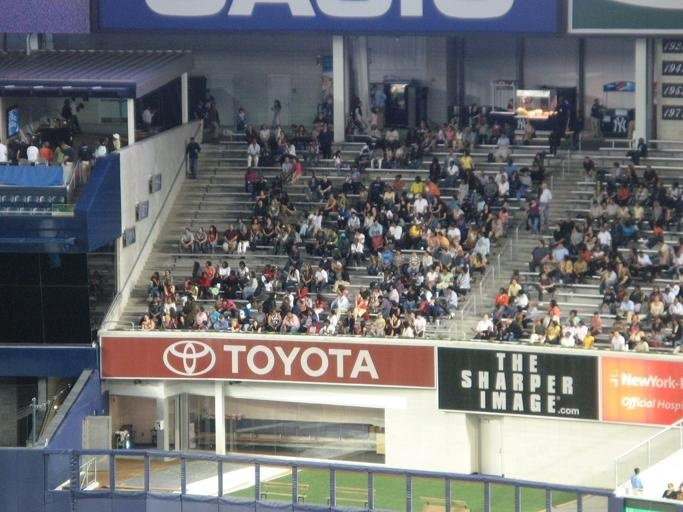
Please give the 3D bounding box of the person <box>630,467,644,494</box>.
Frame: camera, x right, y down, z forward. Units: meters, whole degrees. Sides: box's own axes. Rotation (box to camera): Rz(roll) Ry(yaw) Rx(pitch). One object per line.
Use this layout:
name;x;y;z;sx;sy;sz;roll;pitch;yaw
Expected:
person;11.097;8.456;87.769;0.448;0.745;1.520;-1;6;8

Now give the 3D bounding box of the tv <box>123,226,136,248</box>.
tv;-9.033;-0.859;98.332;0.106;0.605;0.774;0;7;18

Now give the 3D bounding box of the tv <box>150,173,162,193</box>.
tv;-8.064;-3.178;100.885;0.198;0.680;0.915;4;8;20
